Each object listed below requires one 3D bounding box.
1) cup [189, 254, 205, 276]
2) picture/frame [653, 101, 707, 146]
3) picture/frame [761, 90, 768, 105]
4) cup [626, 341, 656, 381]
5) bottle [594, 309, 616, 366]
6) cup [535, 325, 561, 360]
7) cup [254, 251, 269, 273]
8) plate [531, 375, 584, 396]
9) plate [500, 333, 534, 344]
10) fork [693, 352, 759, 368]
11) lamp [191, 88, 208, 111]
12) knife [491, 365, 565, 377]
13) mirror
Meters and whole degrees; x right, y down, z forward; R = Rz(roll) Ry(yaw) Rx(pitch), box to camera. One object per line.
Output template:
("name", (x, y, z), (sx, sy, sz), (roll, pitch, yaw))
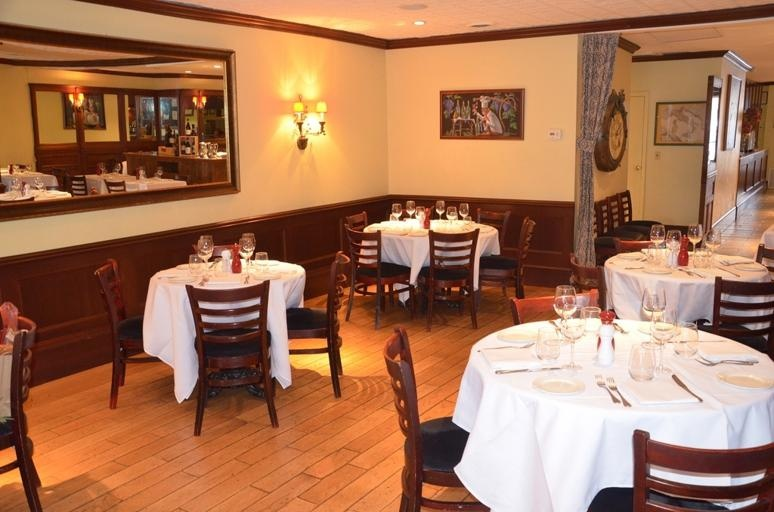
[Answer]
("cup", (-1.835, 0.082, 5.339), (0.172, 0.187, 0.178), (0, 12, 0))
("picture/frame", (6.052, -2.703, 11.277), (1.127, 0.992, 0.083), (6, 20, 28))
("picture/frame", (13.384, -5.576, 19.520), (0.470, 0.519, 0.128), (-14, 18, -39))
("cup", (1.567, 0.650, 3.365), (0.160, 0.184, 0.143), (2, 14, 16))
("bottle", (1.428, 0.526, 3.584), (0.110, 0.323, 0.229), (4, 15, 23))
("cup", (1.080, 0.572, 3.599), (0.127, 0.221, 0.288), (7, 17, 34))
("cup", (-1.300, 0.071, 5.681), (0.194, 0.209, 0.190), (-1, 8, 0))
("plate", (1.022, 0.779, 3.292), (0.297, 0.034, 0.177), (2, 15, 18))
("plate", (0.907, 0.586, 3.861), (0.259, 0.033, 0.159), (-2, 14, 0))
("fork", (2.165, 0.671, 3.517), (0.348, 0.053, 0.051), (2, 27, 4))
("lamp", (-2.339, -1.910, 6.862), (0.187, 0.276, 0.201), (3, -1, -44))
("knife", (0.869, 0.727, 3.466), (0.361, 0.030, 0.042), (-1, 16, -6))
("mirror", (-3.089, -1.532, 6.206), (0.051, 1.714, 2.443), (10, 13, 44))
